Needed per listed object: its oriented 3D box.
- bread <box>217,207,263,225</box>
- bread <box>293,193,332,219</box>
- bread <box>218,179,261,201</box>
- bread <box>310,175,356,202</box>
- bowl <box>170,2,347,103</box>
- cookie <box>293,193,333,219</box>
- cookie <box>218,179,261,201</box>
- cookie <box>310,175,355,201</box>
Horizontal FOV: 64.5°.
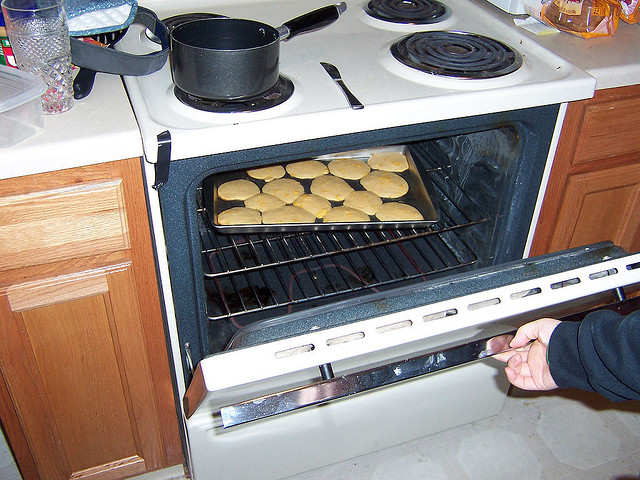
[{"bbox_3d":[-0.232,-0.073,1.503,0.089,0.012,0.066,-6,29,-23],"label":"bread"},{"bbox_3d":[-0.017,-0.116,1.589,0.109,0.016,0.079,27,46,24],"label":"bread"},{"bbox_3d":[-0.262,-0.168,1.625,0.111,0.016,0.069,-5,37,-14],"label":"bread"},{"bbox_3d":[0.039,-0.176,1.662,0.118,0.016,0.096,24,37,32],"label":"bread"},{"bbox_3d":[-0.129,-0.446,1.176,0.364,0.106,0.189,-18,38,-33],"label":"bowl"},{"bbox_3d":[-0.024,-0.110,1.592,0.112,0.016,0.075,17,44,7],"label":"cookie"},{"bbox_3d":[-0.260,-0.168,1.623,0.111,0.016,0.069,-4,37,-13],"label":"cookie"},{"bbox_3d":[0.042,-0.176,1.662,0.119,0.016,0.091,20,28,15],"label":"cookie"}]
